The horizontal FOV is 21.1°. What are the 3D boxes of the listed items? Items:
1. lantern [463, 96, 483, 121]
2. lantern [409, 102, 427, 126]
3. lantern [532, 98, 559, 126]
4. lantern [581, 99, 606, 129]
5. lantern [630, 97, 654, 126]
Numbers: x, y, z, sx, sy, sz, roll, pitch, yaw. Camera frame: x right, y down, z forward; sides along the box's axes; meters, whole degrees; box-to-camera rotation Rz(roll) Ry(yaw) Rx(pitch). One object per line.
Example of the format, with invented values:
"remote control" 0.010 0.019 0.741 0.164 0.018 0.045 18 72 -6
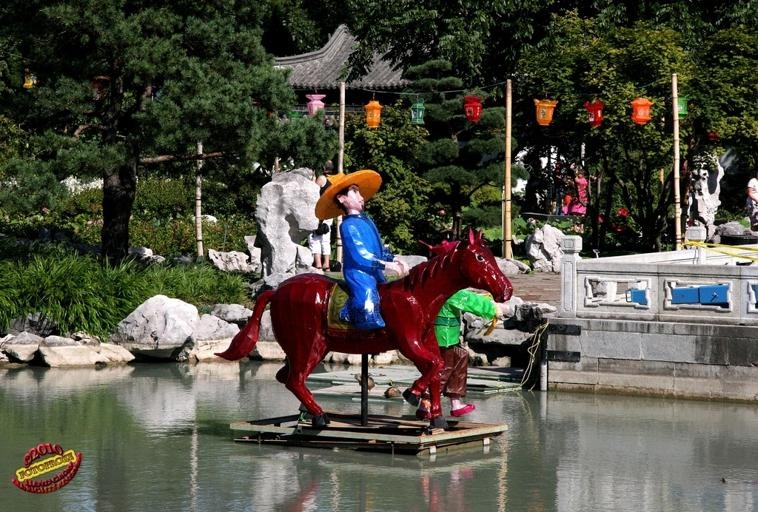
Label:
"lantern" 2.245 -3.561 49.858 0.522 0.646 0.550 1 -7 -5
"lantern" 0.943 -3.452 49.890 0.475 0.632 0.477 -4 8 -29
"lantern" 3.948 -3.448 49.046 0.685 0.719 0.695 3 10 6
"lantern" 5.047 -3.378 48.660 0.594 0.709 0.602 1 0 14
"lantern" 6.063 -3.366 47.567 0.403 0.609 0.537 0 0 3
